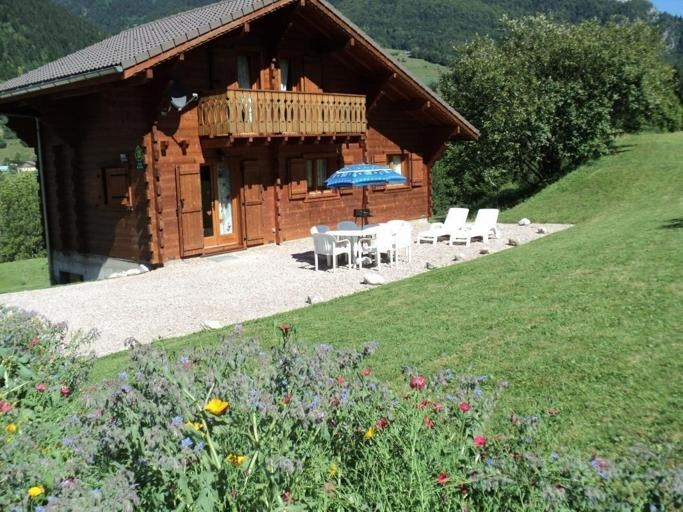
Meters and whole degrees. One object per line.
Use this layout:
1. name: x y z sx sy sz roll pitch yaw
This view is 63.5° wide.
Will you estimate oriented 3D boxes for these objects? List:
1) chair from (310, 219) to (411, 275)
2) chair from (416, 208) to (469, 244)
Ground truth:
1. chair: 0.554 -0.306 15.103 2.647 1.209 2.167 -3 3 4
2. chair: 3.393 -1.004 17.761 0.919 0.990 1.814 6 16 41
